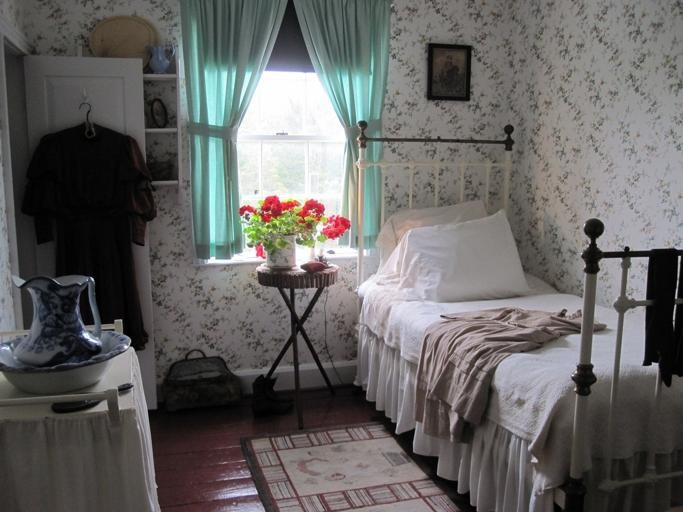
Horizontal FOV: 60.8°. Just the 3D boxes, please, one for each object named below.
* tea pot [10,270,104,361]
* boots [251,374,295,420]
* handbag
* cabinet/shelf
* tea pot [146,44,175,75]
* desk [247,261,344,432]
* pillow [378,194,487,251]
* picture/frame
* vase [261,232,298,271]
[{"bbox_3d":[-0.968,0.174,2.002,0.285,0.297,0.265,2,8,0],"label":"tea pot"},{"bbox_3d":[-0.445,0.861,3.552,0.328,0.264,0.140,-1,0,-18],"label":"boots"},{"bbox_3d":[-0.888,0.646,3.633,0.538,0.283,0.469,0,50,-16],"label":"handbag"},{"bbox_3d":[-1.078,-0.760,3.500,0.285,0.654,0.191,0,1,0],"label":"cabinet/shelf"},{"bbox_3d":[-1.056,-1.149,3.430,0.188,0.186,0.136,-7,9,-29],"label":"tea pot"},{"bbox_3d":[-0.291,0.480,3.622,0.542,0.943,0.676,5,14,21],"label":"desk"},{"bbox_3d":[0.685,-0.237,4.177,0.894,0.257,1.103,5,13,10],"label":"pillow"},{"bbox_3d":[0.714,-1.253,3.937,0.400,0.482,0.032,-1,5,-15],"label":"picture/frame"},{"bbox_3d":[-0.365,-0.025,3.439,0.187,0.198,0.193,-1,4,-15],"label":"vase"}]
